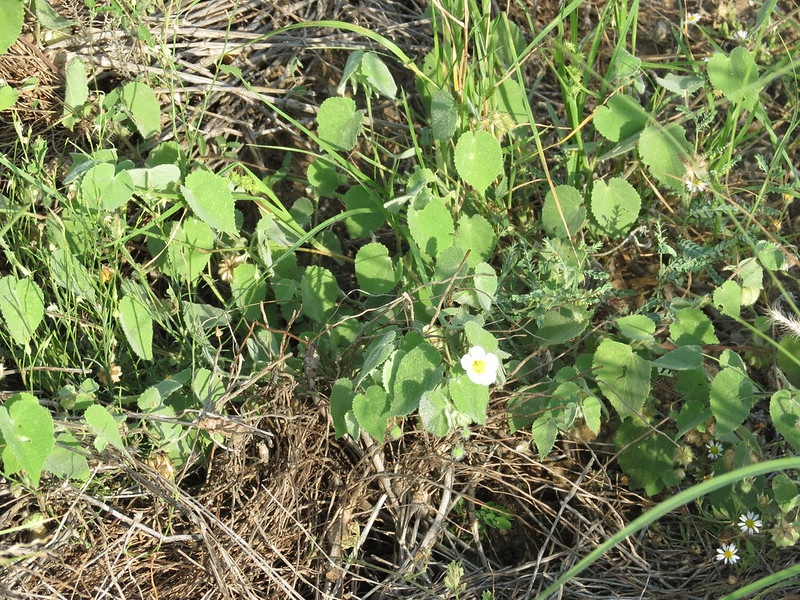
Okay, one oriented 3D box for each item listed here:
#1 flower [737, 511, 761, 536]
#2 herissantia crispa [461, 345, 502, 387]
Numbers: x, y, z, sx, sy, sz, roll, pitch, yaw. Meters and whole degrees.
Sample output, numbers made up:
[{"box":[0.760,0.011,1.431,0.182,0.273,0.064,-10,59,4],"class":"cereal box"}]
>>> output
[{"box":[1.072,0.686,2.120,0.072,0.056,0.052,8,49,3],"class":"flower"},{"box":[0.222,0.185,1.940,0.101,0.061,0.092,11,50,5],"class":"herissantia crispa"}]
